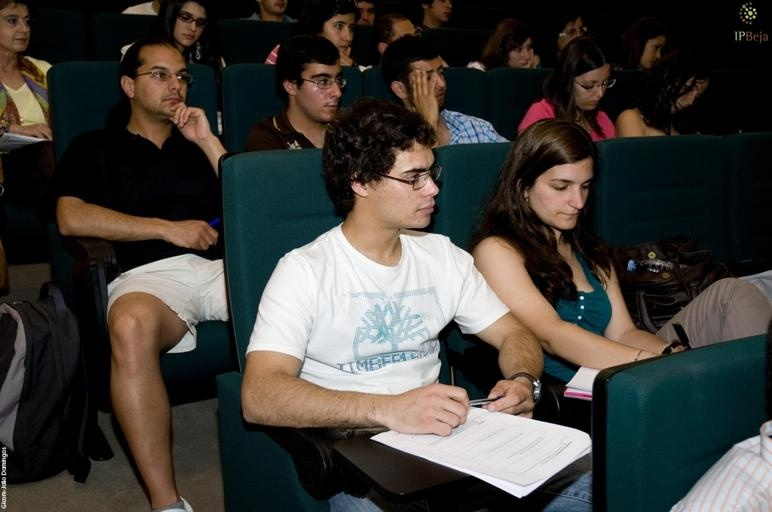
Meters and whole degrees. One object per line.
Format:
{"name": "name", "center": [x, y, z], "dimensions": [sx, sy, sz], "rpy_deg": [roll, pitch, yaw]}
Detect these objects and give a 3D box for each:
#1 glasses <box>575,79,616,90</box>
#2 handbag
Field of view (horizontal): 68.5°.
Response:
{"name": "glasses", "center": [1.229, -1.012, 3.352], "dimensions": [0.119, 0.034, 0.115], "rpy_deg": [-5, 9, -25]}
{"name": "handbag", "center": [1.213, 0.057, 2.411], "dimensions": [0.478, 0.185, 0.384], "rpy_deg": [-19, 32, -18]}
